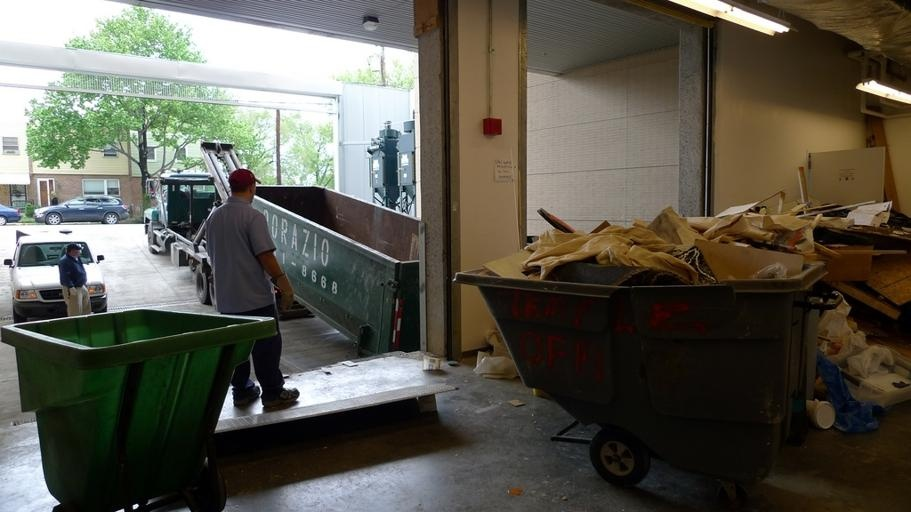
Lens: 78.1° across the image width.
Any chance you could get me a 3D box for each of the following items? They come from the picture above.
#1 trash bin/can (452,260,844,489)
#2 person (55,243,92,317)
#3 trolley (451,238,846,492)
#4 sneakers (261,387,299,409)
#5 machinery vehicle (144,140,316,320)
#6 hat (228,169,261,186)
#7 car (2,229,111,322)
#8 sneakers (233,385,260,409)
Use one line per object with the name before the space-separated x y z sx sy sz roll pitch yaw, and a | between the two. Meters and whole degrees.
trash bin/can | 1.977 1.026 5.754 2.927 1.588 2.248 -2 1 36
person | -7.452 0.446 10.989 0.466 1.362 0.722 -6 9 -33
trolley | 1.798 1.145 5.831 2.930 1.573 2.252 -3 1 36
sneakers | -1.945 1.573 6.386 0.423 0.181 0.190 -10 9 -32
machinery vehicle | -6.380 -1.109 14.472 2.078 2.749 5.950 -13 21 -38
hat | -2.472 -0.921 6.601 0.220 0.118 0.299 3 11 11
car | -8.974 0.397 12.765 2.072 1.496 4.193 -4 6 -33
sneakers | -2.381 1.588 6.365 0.132 0.138 0.326 6 13 27
